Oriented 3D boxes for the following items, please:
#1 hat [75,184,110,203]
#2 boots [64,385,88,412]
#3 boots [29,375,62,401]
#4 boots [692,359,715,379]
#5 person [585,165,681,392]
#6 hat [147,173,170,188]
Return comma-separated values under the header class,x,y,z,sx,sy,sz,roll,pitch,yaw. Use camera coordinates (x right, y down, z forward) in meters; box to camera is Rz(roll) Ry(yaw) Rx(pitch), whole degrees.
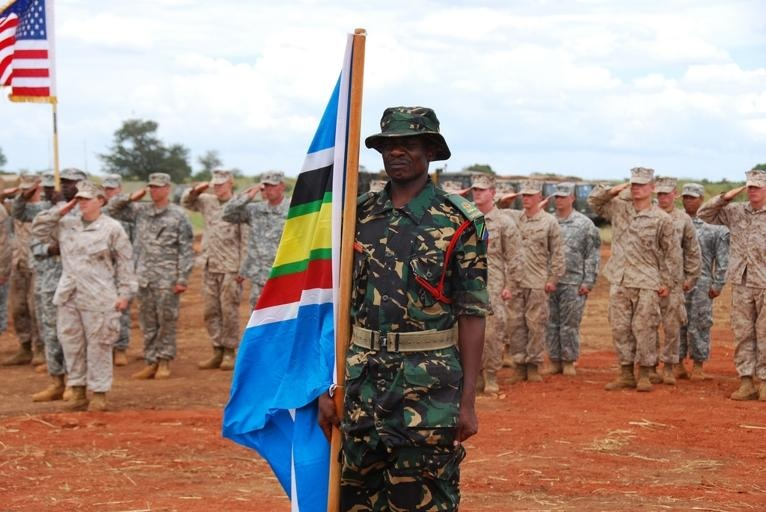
class,x,y,z,sx,sy,sz,roll,pitch,yaw
hat,-4.201,-0.948,14.704,0.293,0.270,0.475,1,10,1
boots,-4.427,2.063,14.815,0.327,0.337,0.228,-2,11,-16
boots,-4.990,2.033,15.484,0.619,0.417,0.248,4,0,-14
boots,5.475,1.979,17.649,0.264,0.379,0.581,3,3,17
person,4.054,0.373,16.368,0.889,3.641,1.117,-7,13,-34
hat,-3.678,-1.263,16.878,0.271,0.157,0.331,1,0,5
